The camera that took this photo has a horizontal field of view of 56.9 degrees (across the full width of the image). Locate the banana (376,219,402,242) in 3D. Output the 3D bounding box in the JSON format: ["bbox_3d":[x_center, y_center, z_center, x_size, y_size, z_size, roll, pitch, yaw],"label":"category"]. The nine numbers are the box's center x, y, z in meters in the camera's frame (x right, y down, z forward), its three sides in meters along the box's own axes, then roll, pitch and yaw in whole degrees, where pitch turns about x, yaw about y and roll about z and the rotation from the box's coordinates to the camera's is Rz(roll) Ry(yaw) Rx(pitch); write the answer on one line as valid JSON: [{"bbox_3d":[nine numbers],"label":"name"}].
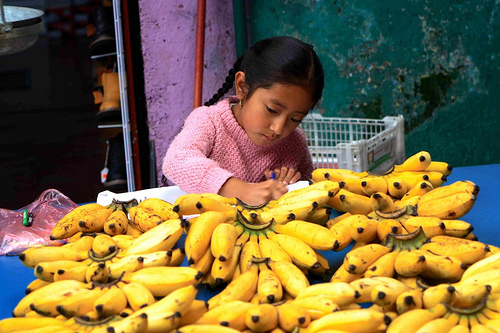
[{"bbox_3d":[0.377,0.172,1.288,0.047,0.051,0.062,-32,15,-31],"label":"banana"}]

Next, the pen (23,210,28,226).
[{"bbox_3d":[-0.769,0.176,1.592,0.009,0.041,0.039,8,-10,-9],"label":"pen"}]

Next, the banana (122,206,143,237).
[{"bbox_3d":[-0.361,0.171,1.423,0.020,0.079,0.026,-26,-6,-21],"label":"banana"}]

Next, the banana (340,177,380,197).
[{"bbox_3d":[0.329,0.073,1.510,0.196,0.058,0.066,-1,-8,7],"label":"banana"}]

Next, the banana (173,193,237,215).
[{"bbox_3d":[-0.138,0.117,1.409,0.181,0.053,0.064,-4,13,-32],"label":"banana"}]

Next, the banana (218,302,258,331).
[{"bbox_3d":[-0.023,0.344,1.065,0.077,0.043,0.027,-8,-30,-10],"label":"banana"}]

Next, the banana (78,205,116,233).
[{"bbox_3d":[-0.475,0.165,1.419,0.133,0.042,0.047,-27,-5,-45],"label":"banana"}]

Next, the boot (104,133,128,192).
[{"bbox_3d":[-1.009,-0.017,3.490,0.205,0.411,0.299,1,-34,-10],"label":"boot"}]

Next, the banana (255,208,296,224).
[{"bbox_3d":[0.081,0.134,1.369,0.127,0.046,0.036,5,32,24],"label":"banana"}]

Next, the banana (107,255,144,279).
[{"bbox_3d":[-0.333,0.262,1.221,0.099,0.034,0.029,-14,32,7],"label":"banana"}]

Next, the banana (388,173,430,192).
[{"bbox_3d":[0.538,0.045,1.524,0.172,0.063,0.049,-7,22,-29],"label":"banana"}]

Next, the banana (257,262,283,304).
[{"bbox_3d":[0.048,0.290,1.163,0.032,0.037,0.106,-11,27,-10],"label":"banana"}]

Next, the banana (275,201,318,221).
[{"bbox_3d":[0.141,0.116,1.368,0.138,0.049,0.040,-13,11,-4],"label":"banana"}]

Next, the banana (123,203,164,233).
[{"bbox_3d":[-0.330,0.152,1.413,0.123,0.046,0.053,21,7,38],"label":"banana"}]

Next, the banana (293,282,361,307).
[{"bbox_3d":[0.186,0.328,1.143,0.191,0.067,0.064,-17,-5,39],"label":"banana"}]

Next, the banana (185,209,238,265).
[{"bbox_3d":[-0.100,0.181,1.350,0.082,0.061,0.240,27,44,11],"label":"banana"}]

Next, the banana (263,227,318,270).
[{"bbox_3d":[0.117,0.225,1.304,0.057,0.055,0.176,-4,32,-43],"label":"banana"}]

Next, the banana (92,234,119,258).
[{"bbox_3d":[-0.418,0.227,1.326,0.064,0.041,0.120,-22,19,-27],"label":"banana"}]

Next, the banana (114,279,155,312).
[{"bbox_3d":[-0.278,0.316,1.135,0.046,0.033,0.093,-17,32,-12],"label":"banana"}]

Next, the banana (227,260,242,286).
[{"bbox_3d":[-0.035,0.285,1.251,0.019,0.074,0.026,24,-23,8],"label":"banana"}]

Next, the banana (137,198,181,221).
[{"bbox_3d":[-0.282,0.131,1.442,0.126,0.045,0.062,29,32,19],"label":"banana"}]

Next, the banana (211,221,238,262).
[{"bbox_3d":[-0.068,0.198,1.245,0.040,0.040,0.128,24,22,2],"label":"banana"}]

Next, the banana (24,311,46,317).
[{"bbox_3d":[-0.538,0.365,1.161,0.055,0.020,0.015,-4,1,23],"label":"banana"}]

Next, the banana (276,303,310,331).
[{"bbox_3d":[0.096,0.347,1.076,0.040,0.046,0.081,23,-13,-41],"label":"banana"}]

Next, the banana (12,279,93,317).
[{"bbox_3d":[-0.487,0.330,1.159,0.156,0.059,0.043,-18,23,-16],"label":"banana"}]

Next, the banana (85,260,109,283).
[{"bbox_3d":[-0.405,0.281,1.230,0.067,0.064,0.107,6,-15,-21],"label":"banana"}]

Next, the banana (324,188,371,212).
[{"bbox_3d":[0.282,0.109,1.478,0.194,0.056,0.068,-11,-36,29],"label":"banana"}]

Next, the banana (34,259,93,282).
[{"bbox_3d":[-0.486,0.273,1.212,0.146,0.043,0.048,-4,10,-31],"label":"banana"}]

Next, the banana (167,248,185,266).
[{"bbox_3d":[-0.209,0.268,1.311,0.021,0.078,0.027,28,31,-22],"label":"banana"}]

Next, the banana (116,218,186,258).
[{"bbox_3d":[-0.281,0.204,1.311,0.135,0.046,0.048,-33,27,-14],"label":"banana"}]

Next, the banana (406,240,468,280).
[{"bbox_3d":[0.440,0.240,1.176,0.189,0.056,0.070,8,28,-4],"label":"banana"}]
